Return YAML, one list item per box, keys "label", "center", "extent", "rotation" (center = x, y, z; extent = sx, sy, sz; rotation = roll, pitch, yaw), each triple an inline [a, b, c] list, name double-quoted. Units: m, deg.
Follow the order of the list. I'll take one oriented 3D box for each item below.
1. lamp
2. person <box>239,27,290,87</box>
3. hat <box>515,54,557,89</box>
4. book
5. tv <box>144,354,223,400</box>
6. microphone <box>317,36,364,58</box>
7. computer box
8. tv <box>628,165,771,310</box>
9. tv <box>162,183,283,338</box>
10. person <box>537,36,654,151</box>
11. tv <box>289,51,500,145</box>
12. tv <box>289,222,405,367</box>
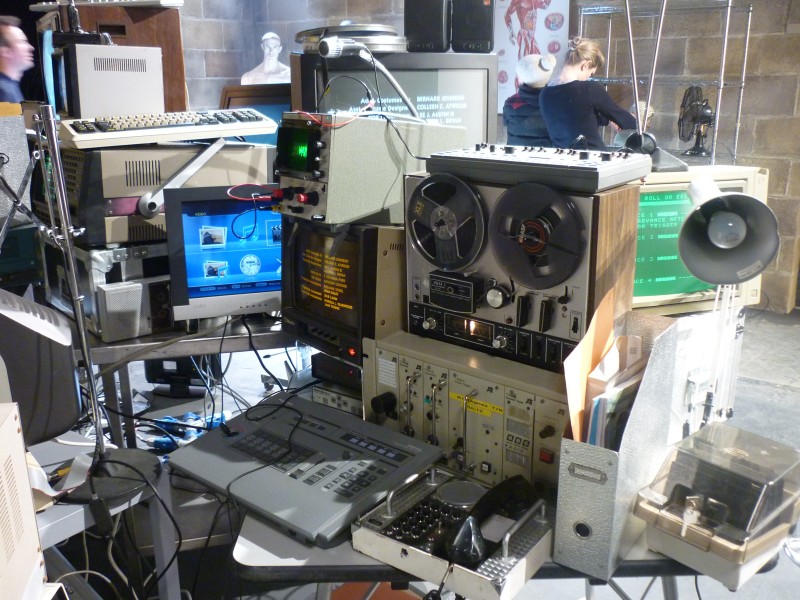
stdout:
- label: "lamp"
  center: [0.910, -0.175, 1.961]
  extent: [0.241, 0.238, 0.133]
  rotation: [9, 18, 29]
- label: "person"
  center: [-1.285, -2.353, 6.793]
  extent: [0.404, 0.543, 1.789]
  rotation: [-3, 16, -10]
- label: "hat"
  center: [0.955, -1.629, 4.922]
  extent: [0.276, 0.249, 0.223]
  rotation: [14, 55, 8]
- label: "book"
  center: [0.568, 0.223, 1.867]
  extent: [0.095, 0.285, 0.211]
  rotation: [11, -8, 24]
- label: "tv"
  center: [-1.219, 0.364, 3.896]
  extent: [0.326, 0.302, 0.174]
  rotation: [0, 23, -13]
- label: "microphone"
  center: [-0.186, -0.856, 2.398]
  extent: [0.132, 0.066, 0.225]
  rotation: [3, 16, 8]
- label: "computer box"
  center: [-1.106, -0.909, 3.004]
  extent: [0.417, 0.306, 0.206]
  rotation: [9, 18, 24]
- label: "tv"
  center: [0.933, -0.207, 2.370]
  extent: [0.485, 0.468, 0.242]
  rotation: [-3, 18, -4]
- label: "tv"
  center: [-0.628, -0.208, 2.624]
  extent: [0.441, 0.445, 0.243]
  rotation: [-5, 25, -19]
- label: "person"
  center: [1.213, -1.329, 4.531]
  extent: [0.487, 0.695, 0.765]
  rotation: [-5, 17, -19]
- label: "tv"
  center: [0.011, -0.874, 3.081]
  extent: [0.927, 0.380, 0.319]
  rotation: [-7, 17, -24]
- label: "tv"
  center: [-0.192, -0.063, 2.444]
  extent: [0.242, 0.428, 0.448]
  rotation: [-10, 17, -42]
